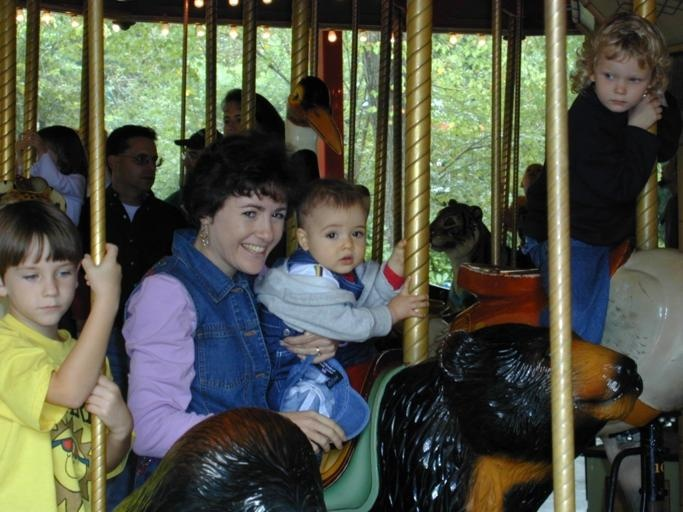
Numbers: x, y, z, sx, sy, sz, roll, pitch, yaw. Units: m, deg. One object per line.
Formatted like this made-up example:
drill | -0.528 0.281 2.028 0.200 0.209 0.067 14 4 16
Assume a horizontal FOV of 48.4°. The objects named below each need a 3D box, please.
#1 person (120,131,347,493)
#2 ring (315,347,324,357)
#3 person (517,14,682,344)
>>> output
person | -0.364 0.168 2.476 0.662 1.153 0.645 -1 4 -17
ring | -0.069 0.328 2.599 0.023 0.027 0.025 1 -13 -6
person | 0.992 -0.286 2.725 0.335 1.153 0.457 1 4 17
